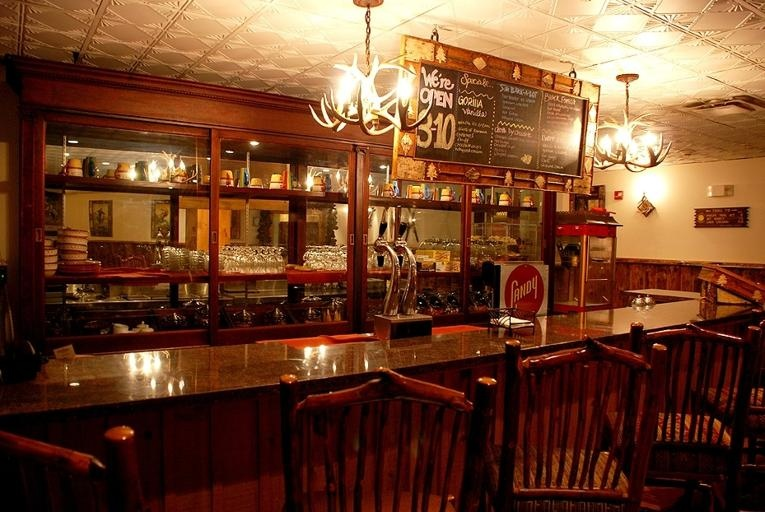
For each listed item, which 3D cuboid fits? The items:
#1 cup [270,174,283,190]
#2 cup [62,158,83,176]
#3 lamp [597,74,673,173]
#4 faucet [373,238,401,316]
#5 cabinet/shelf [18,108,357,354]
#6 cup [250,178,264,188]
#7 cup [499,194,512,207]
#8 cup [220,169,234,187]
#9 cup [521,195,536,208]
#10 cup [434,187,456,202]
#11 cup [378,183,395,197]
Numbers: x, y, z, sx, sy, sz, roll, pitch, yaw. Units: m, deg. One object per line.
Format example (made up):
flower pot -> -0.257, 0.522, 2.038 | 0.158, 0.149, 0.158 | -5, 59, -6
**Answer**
cup -> -1.014, -0.716, 5.333 | 0.131, 0.125, 0.119 | 5, 7, 31
cup -> -2.573, -0.741, 4.618 | 0.141, 0.134, 0.123 | 0, 6, -35
lamp -> 2.532, -1.293, 5.822 | 0.599, 0.863, 2.414 | -1, 3, 22
faucet -> 0.031, 0.134, 3.748 | 0.159, 0.504, 0.268 | -2, 2, -2
cabinet/shelf -> -1.786, -0.244, 4.840 | 2.083, 1.962, 0.675 | 1, -5, -19
cup -> -1.196, -0.697, 5.260 | 0.091, 0.082, 0.091 | -1, -10, 0
cup -> 1.409, -0.645, 6.416 | 0.116, 0.157, 0.144 | 0, -8, 6
cup -> -1.428, -0.729, 5.117 | 0.130, 0.100, 0.129 | 0, 6, 0
cup -> 1.746, -0.648, 6.697 | 0.164, 0.170, 0.165 | -2, -2, 0
cup -> 0.687, -0.666, 6.044 | 0.164, 0.216, 0.215 | -6, 8, -37
cup -> 0.038, -0.676, 5.733 | 0.147, 0.147, 0.145 | 1, 1, 0
